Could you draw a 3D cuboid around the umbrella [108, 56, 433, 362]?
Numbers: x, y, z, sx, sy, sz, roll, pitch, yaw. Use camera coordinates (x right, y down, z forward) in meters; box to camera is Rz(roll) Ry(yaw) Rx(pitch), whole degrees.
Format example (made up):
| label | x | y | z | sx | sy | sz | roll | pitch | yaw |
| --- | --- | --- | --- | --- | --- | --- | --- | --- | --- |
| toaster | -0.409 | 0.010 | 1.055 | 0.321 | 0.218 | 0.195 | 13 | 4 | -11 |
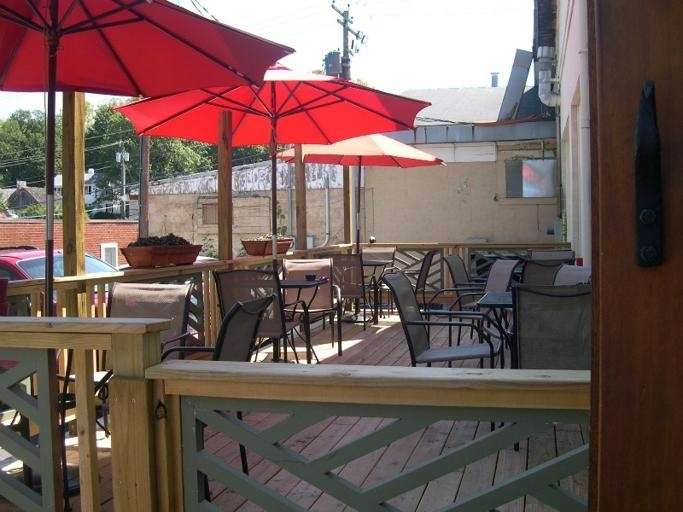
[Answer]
| label | x | y | z | sx | sy | sz | roll | pitch | yaw |
| --- | --- | --- | --- | --- | --- | --- | --- | --- | --- |
| umbrella | -0.544 | -0.824 | 5.944 | 1.801 | 1.280 | 1.885 | -8 | -8 | -31 |
